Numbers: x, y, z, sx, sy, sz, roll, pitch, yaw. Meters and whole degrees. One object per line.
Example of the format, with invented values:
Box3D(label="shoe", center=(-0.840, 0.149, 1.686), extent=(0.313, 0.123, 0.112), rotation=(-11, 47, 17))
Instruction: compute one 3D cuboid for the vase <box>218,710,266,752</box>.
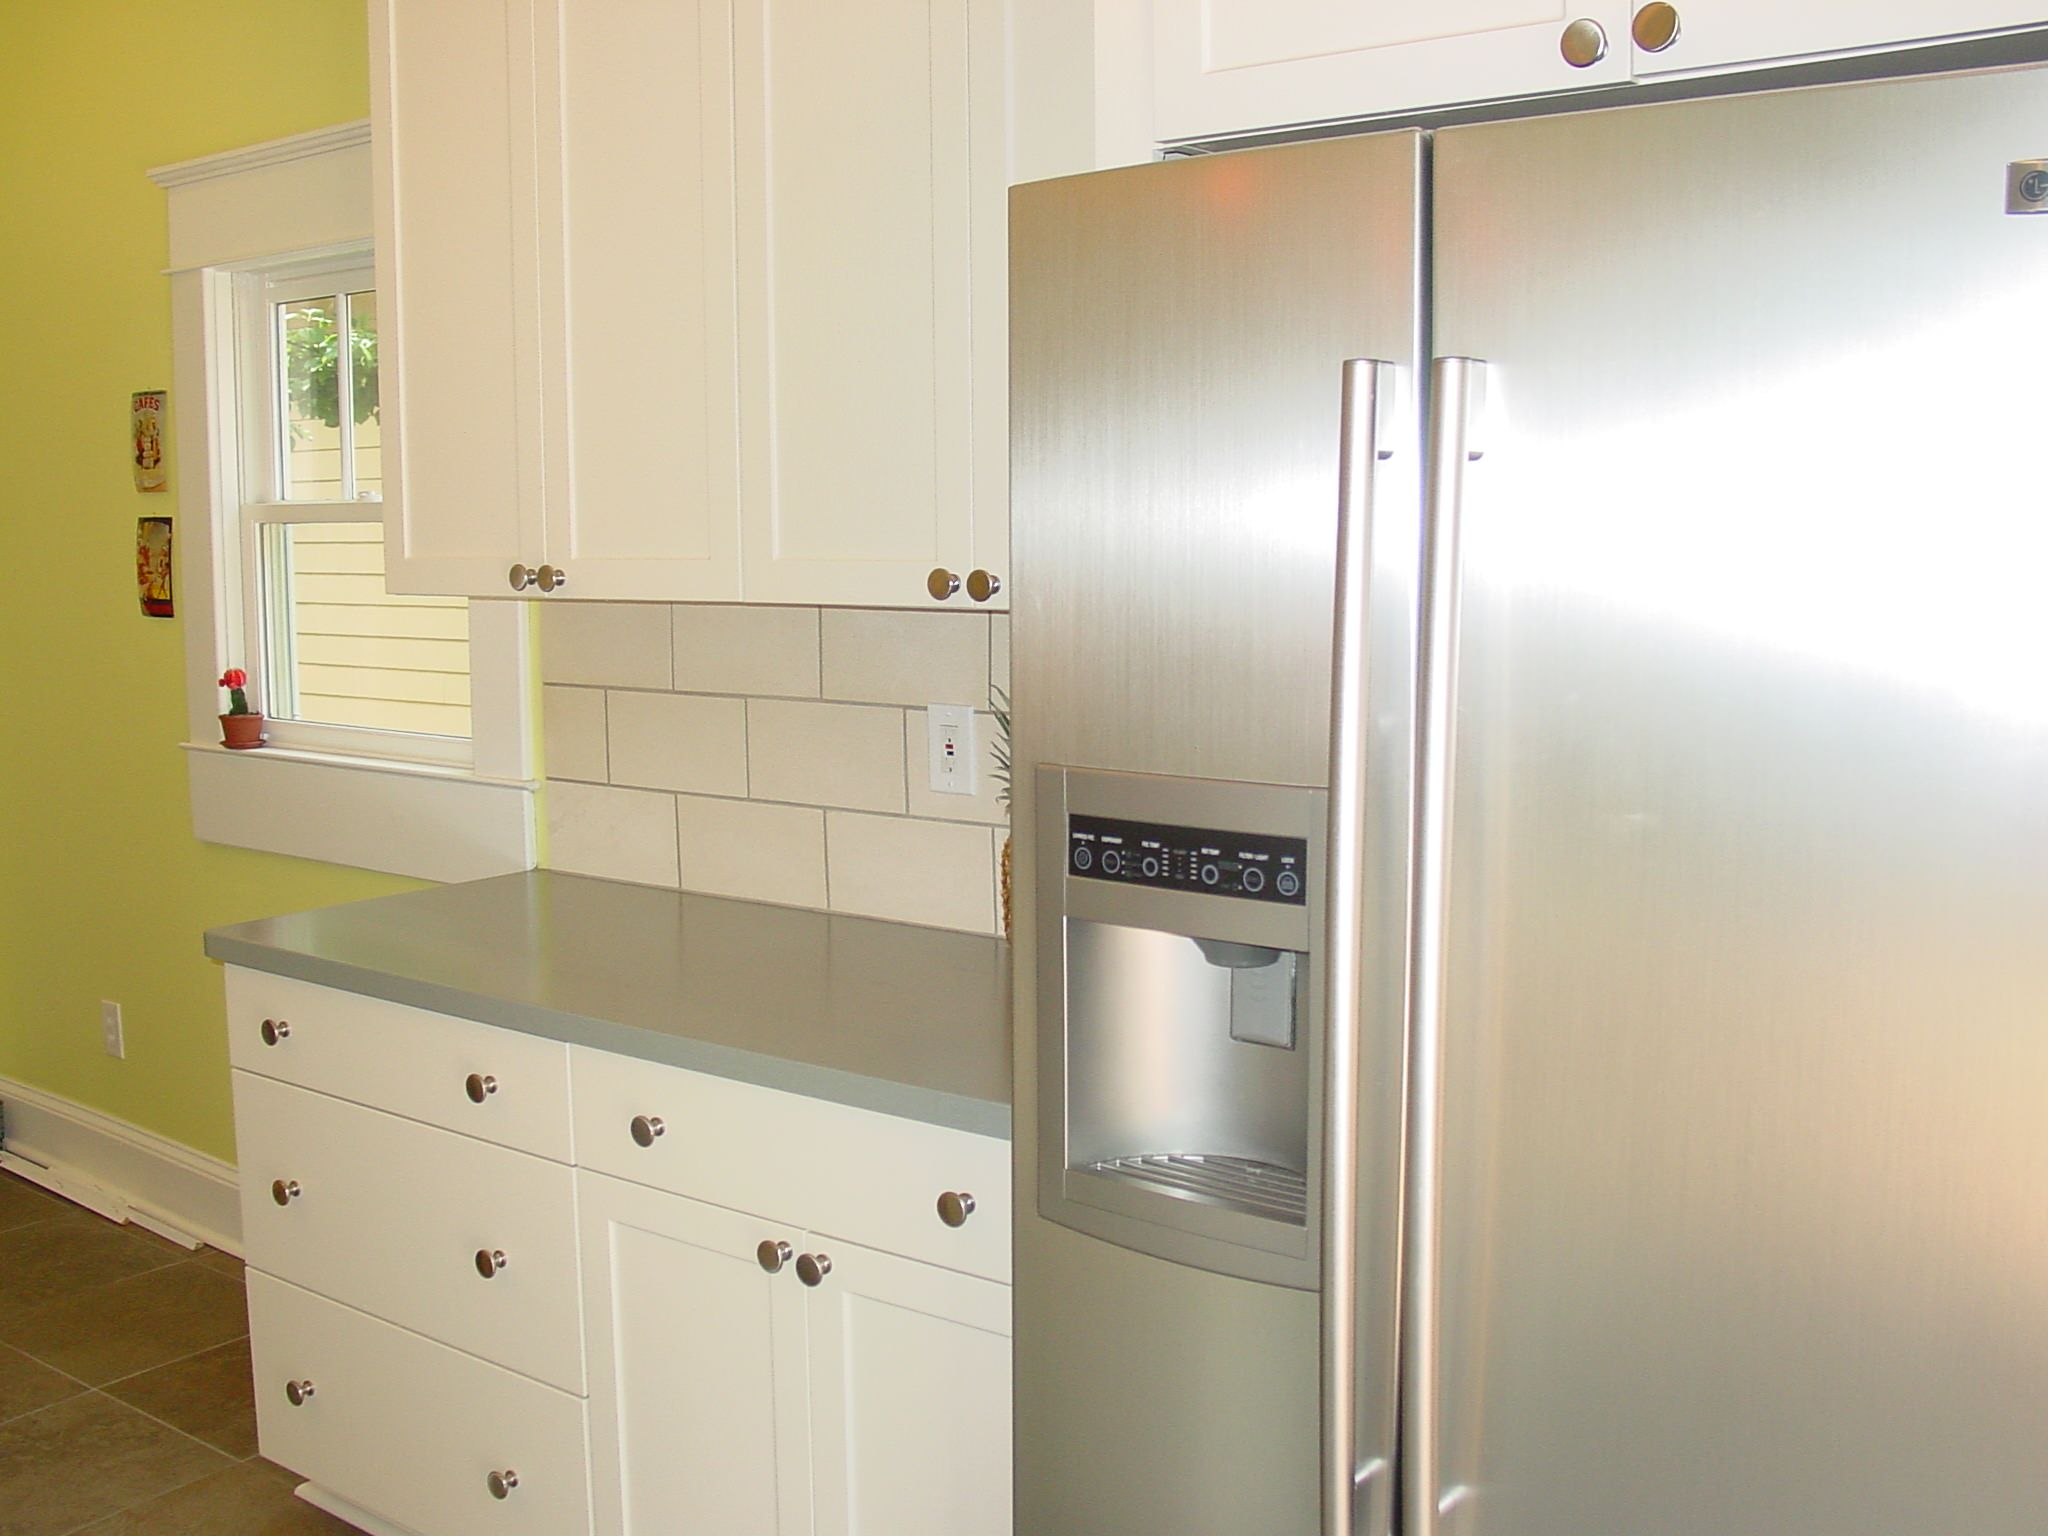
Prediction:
Box3D(label="vase", center=(-1.760, -0.078, 3.606), extent=(0.075, 0.065, 0.083), rotation=(0, 3, -6))

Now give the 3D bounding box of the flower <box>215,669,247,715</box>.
Box3D(label="flower", center=(-1.794, -0.169, 3.636), extent=(0.064, 0.100, 0.096), rotation=(-6, 11, -27))
